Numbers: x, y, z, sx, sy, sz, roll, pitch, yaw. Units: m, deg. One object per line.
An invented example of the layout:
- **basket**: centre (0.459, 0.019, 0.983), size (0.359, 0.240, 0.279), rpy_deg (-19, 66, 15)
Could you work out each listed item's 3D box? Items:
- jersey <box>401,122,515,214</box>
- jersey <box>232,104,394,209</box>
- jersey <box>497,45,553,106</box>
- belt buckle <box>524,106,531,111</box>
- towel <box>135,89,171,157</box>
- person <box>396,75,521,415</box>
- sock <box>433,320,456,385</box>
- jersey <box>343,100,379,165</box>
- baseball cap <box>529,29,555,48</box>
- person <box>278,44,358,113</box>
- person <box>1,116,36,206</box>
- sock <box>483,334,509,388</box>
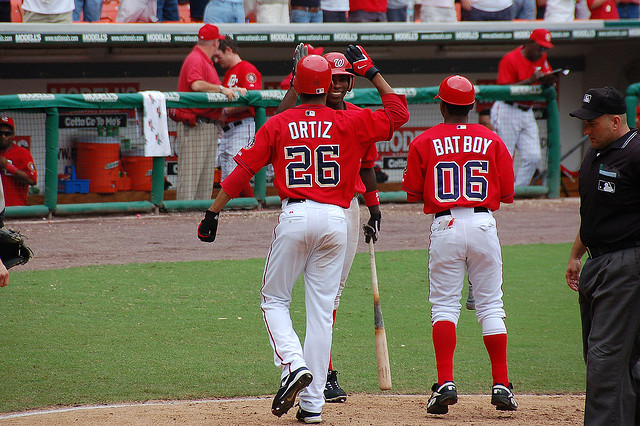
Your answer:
- **jersey**: centre (1.471, -0.478, 13.892), size (1.148, 0.920, 0.275), rpy_deg (-1, 5, 2)
- **jersey**: centre (-0.049, -0.585, 13.636), size (1.590, 1.091, 0.347), rpy_deg (-1, 5, 4)
- **jersey**: centre (3.099, -2.249, 19.958), size (0.784, 0.572, 0.448), rpy_deg (-1, 5, 6)
- **belt buckle**: centre (3.156, -1.593, 19.970), size (0.088, 0.074, 0.019), rpy_deg (4, -6, -2)
- **towel**: centre (-2.353, -1.255, 18.379), size (0.451, 0.910, 0.444), rpy_deg (-2, 5, -8)
- **person**: centre (1.482, 0.327, 13.798), size (1.123, 3.539, 0.778), rpy_deg (-1, 5, 5)
- **sock**: centre (1.306, 1.449, 13.749), size (0.352, 0.554, 0.354), rpy_deg (1, -1, 4)
- **jersey**: centre (0.341, -0.824, 14.294), size (0.351, 0.727, 0.630), rpy_deg (-5, 42, -3)
- **baseball cap**: centre (3.309, -2.615, 19.577), size (0.326, 0.178, 0.236), rpy_deg (31, 19, 32)
- **person**: centre (-0.089, -1.407, 14.118), size (0.959, 0.453, 0.567), rpy_deg (-21, 40, -24)
- **person**: centre (-4.094, -0.682, 17.707), size (0.451, 1.215, 0.653), rpy_deg (-2, 5, -13)
- **sock**: centre (1.854, 1.557, 13.771), size (0.239, 0.547, 0.268), rpy_deg (-1, 5, -1)
